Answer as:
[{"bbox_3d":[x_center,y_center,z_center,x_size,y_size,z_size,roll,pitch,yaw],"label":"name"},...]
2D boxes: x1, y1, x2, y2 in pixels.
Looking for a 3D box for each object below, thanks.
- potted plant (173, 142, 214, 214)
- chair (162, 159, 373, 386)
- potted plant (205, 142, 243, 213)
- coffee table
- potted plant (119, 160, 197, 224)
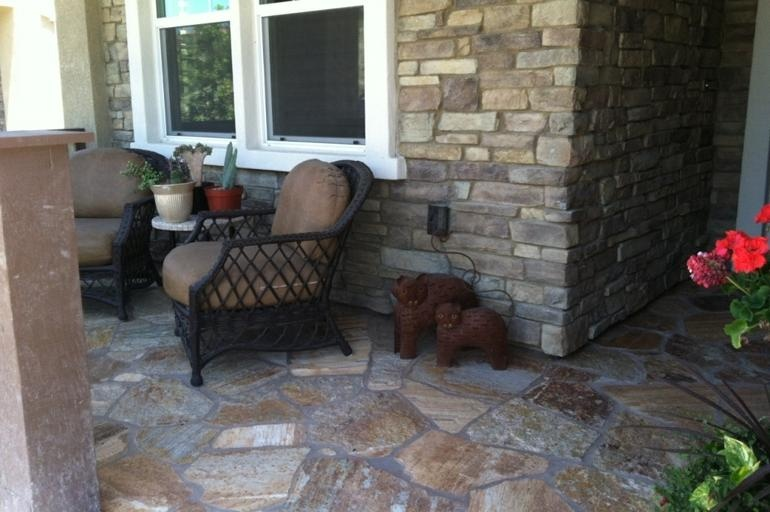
[{"bbox_3d":[-1.431,-0.678,4.582,0.235,0.332,0.210,8,17,15],"label":"potted plant"},{"bbox_3d":[-0.773,-0.001,3.841,1.348,1.081,0.963,-8,18,-23],"label":"chair"},{"bbox_3d":[-1.178,-0.574,4.389,0.291,0.444,0.264,2,23,9],"label":"potted plant"},{"bbox_3d":[-1.436,-0.145,4.620,0.708,0.459,0.697,-11,20,-35],"label":"coffee table"},{"bbox_3d":[-1.571,-0.467,4.235,0.511,0.387,0.324,1,17,11],"label":"potted plant"}]
